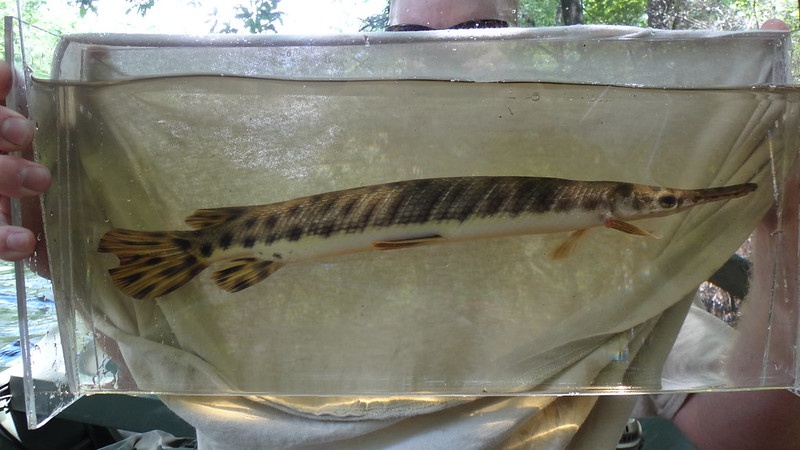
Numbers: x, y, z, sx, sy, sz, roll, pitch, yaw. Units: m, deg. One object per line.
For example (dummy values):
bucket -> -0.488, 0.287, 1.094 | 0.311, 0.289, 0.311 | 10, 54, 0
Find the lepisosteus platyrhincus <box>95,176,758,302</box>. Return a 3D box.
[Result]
lepisosteus platyrhincus -> 0.065, 0.022, 2.116 | 1.325, 0.203, 0.237 | -5, 8, 7
